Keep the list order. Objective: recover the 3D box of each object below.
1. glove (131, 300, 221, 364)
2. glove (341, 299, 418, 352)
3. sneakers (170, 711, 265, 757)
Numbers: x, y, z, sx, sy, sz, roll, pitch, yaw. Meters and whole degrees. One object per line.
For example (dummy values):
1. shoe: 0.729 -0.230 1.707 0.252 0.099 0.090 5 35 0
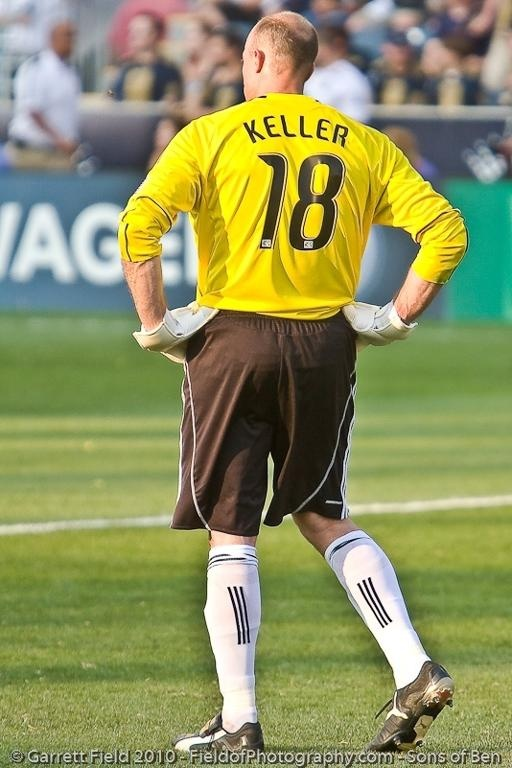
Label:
1. glove: -0.181 -0.108 2.709 0.152 0.081 0.184 7 36 42
2. glove: 0.324 -0.154 2.856 0.172 0.072 0.109 6 53 -14
3. sneakers: -0.079 0.849 2.636 0.238 0.089 0.094 -6 -12 31
